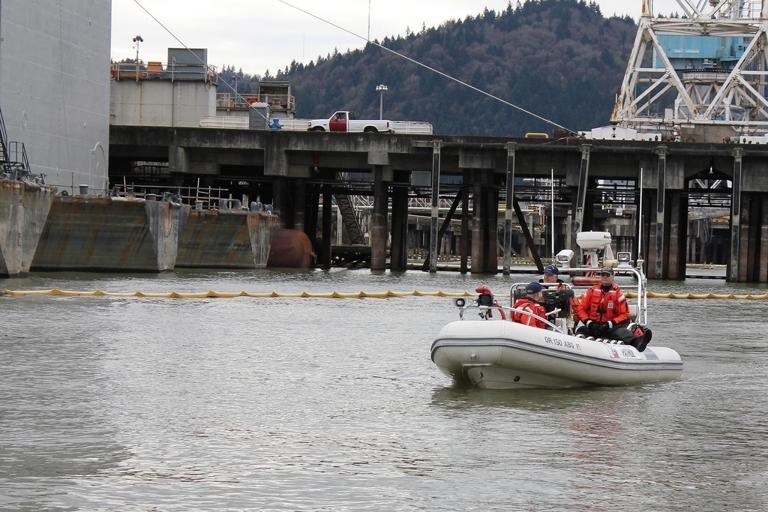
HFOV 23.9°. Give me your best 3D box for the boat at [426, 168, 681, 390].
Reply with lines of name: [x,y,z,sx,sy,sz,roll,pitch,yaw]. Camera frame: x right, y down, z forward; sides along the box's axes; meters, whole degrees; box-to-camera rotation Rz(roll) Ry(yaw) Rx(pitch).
boat: [6.884,2.443,86.923,7.675,7.380,13.240,1,-1,-20]

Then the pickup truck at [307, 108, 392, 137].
pickup truck: [-2.623,-9.392,127.222,5.649,1.579,3.261,1,-1,4]
